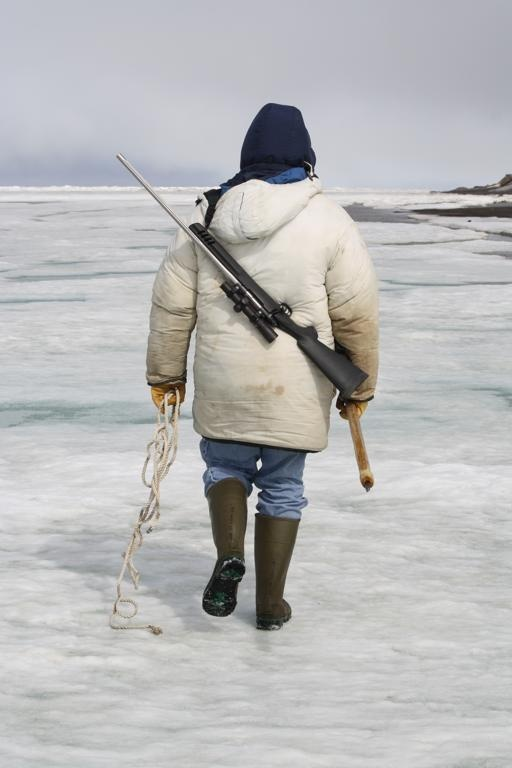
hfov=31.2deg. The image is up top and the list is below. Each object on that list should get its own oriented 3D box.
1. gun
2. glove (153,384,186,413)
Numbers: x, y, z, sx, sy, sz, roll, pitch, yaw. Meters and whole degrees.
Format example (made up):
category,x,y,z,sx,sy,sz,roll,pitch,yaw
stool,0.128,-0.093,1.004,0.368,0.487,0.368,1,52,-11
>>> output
category,x,y,z,sx,sy,sz,roll,pitch,yaw
gun,-0.050,-0.291,2.646,0.141,0.915,0.130,-42,-16,-15
glove,-0.282,0.048,2.963,0.110,0.080,0.028,4,13,1
